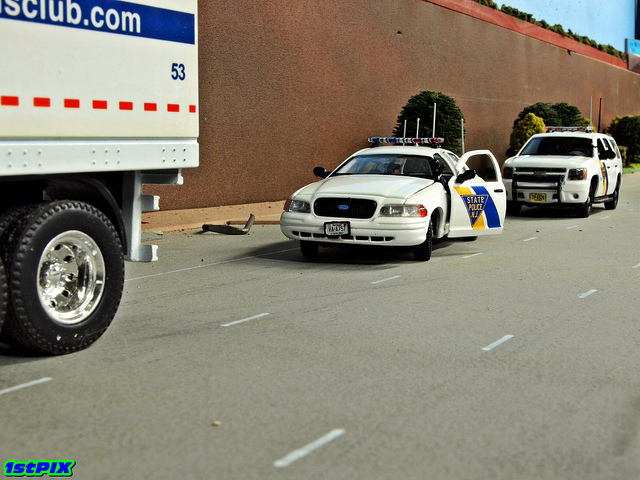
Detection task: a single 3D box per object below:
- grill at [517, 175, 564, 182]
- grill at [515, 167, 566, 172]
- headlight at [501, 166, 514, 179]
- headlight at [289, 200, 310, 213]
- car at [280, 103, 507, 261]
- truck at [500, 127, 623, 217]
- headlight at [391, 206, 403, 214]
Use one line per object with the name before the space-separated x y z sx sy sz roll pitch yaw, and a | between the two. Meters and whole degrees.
grill | 6.268 -1.775 15.855 1.088 0.199 0.095 3 8 19
grill | 6.329 -2.029 15.845 1.311 0.115 0.096 3 8 20
headlight | 5.577 -2.003 16.318 0.123 0.370 0.555 -1 8 -5
headlight | -0.371 -0.610 9.882 0.467 0.210 0.116 7 10 41
car | 1.690 -0.798 10.671 2.498 2.045 3.694 2 3 31
truck | 7.757 -2.057 17.248 2.429 2.099 4.285 2 4 32
headlight | 1.315 -0.505 9.356 0.183 0.115 0.050 -1 7 -11
